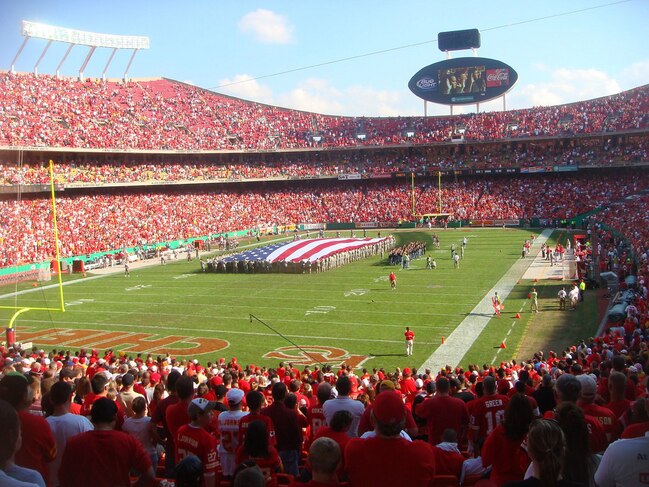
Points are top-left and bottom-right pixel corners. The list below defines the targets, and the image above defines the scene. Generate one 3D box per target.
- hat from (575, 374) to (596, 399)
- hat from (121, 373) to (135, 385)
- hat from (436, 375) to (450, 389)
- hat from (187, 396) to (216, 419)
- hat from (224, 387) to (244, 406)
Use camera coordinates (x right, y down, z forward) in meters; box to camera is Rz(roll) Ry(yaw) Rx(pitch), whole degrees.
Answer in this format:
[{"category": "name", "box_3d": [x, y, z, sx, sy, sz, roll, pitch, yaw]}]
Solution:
[{"category": "hat", "box_3d": [3.898, 2.090, 10.228, 0.349, 0.270, 0.509, 1, 16, 14]}, {"category": "hat", "box_3d": [-3.511, 2.378, 12.348, 0.181, 0.214, 0.214, 5, 19, -8]}, {"category": "hat", "box_3d": [1.920, 2.238, 11.177, 0.180, 0.244, 0.326, -1, 6, 15]}, {"category": "hat", "box_3d": [-1.764, 2.326, 9.893, 0.375, 0.275, 0.208, -4, 6, -11]}, {"category": "hat", "box_3d": [-1.376, 2.309, 10.628, 0.237, 0.241, 0.269, -3, 6, -6]}]
